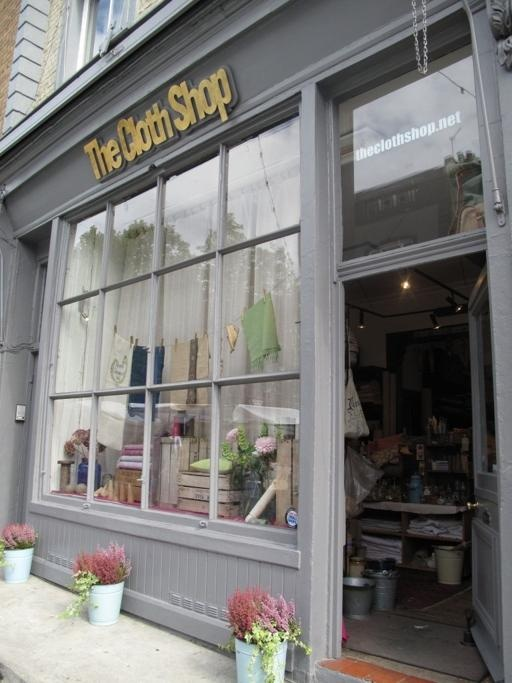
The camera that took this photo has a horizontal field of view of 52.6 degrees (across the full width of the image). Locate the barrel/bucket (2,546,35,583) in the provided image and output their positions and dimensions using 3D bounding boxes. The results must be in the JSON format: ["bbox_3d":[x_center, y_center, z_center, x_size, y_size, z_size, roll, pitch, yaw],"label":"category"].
[{"bbox_3d":[-2.078,1.964,4.539,0.240,0.242,0.281,-1,-18,0],"label":"barrel/bucket"}]

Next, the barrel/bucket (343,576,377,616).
[{"bbox_3d":[0.700,1.776,3.563,0.220,0.282,0.189,0,-14,1],"label":"barrel/bucket"}]

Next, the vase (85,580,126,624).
[{"bbox_3d":[-0.969,1.728,3.438,0.235,0.230,0.273,1,-14,0],"label":"vase"}]

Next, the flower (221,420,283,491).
[{"bbox_3d":[-0.009,0.682,3.273,0.401,0.459,0.364,1,-7,11],"label":"flower"}]

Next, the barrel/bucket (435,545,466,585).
[{"bbox_3d":[1.840,2.133,4.926,0.289,0.341,0.316,2,-18,1],"label":"barrel/bucket"}]

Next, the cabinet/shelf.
[{"bbox_3d":[1.729,2.148,5.702,1.206,0.697,0.431,-12,-19,42],"label":"cabinet/shelf"}]

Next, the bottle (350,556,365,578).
[{"bbox_3d":[0.779,1.757,4.027,0.115,0.140,0.120,1,-2,-1],"label":"bottle"}]

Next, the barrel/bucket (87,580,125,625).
[{"bbox_3d":[-0.964,1.733,3.445,0.233,0.230,0.272,1,-15,-2],"label":"barrel/bucket"}]

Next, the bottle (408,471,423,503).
[{"bbox_3d":[1.798,1.664,5.827,0.177,0.306,0.368,-4,-15,15],"label":"bottle"}]

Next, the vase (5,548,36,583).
[{"bbox_3d":[-2.075,1.973,4.533,0.236,0.239,0.275,-1,-18,3],"label":"vase"}]
